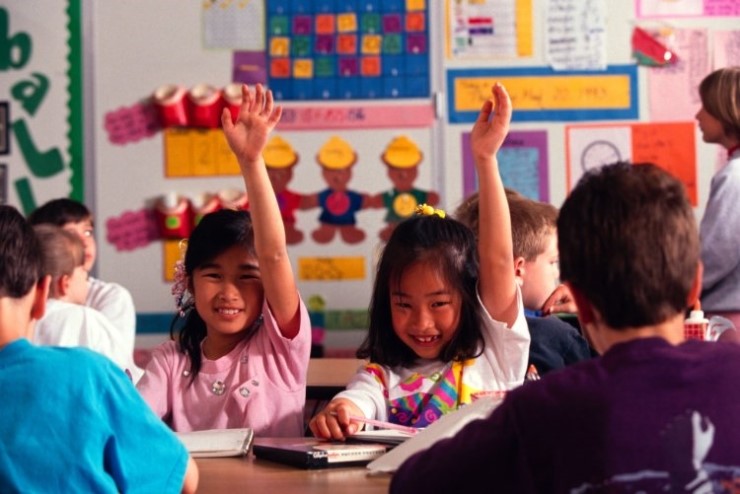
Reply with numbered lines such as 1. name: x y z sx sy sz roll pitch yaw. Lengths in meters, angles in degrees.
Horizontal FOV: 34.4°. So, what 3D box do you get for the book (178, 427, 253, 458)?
1. book: -0.405 0.525 3.213 0.121 0.034 0.100 -3 9 10
